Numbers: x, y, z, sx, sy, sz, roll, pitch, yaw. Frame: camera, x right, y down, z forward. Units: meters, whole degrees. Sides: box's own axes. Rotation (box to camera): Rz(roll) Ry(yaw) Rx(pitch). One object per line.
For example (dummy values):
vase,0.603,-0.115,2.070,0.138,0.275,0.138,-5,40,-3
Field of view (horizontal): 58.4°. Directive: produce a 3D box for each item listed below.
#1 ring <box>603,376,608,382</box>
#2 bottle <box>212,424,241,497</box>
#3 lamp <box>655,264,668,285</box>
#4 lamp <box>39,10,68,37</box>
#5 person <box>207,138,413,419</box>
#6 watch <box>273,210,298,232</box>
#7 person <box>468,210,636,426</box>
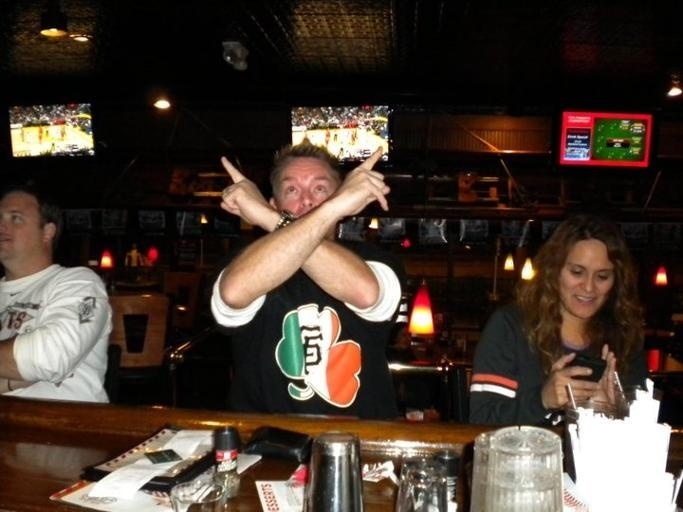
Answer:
ring,1.170,0.540,2.711,0.008,0.031,0.010,31,-31,-1
bottle,-0.418,0.746,2.240,0.093,0.270,0.204,2,-3,-9
lamp,4.401,0.258,8.344,0.252,0.284,0.146,3,-4,-25
lamp,-2.219,-1.753,4.695,0.194,0.196,0.191,2,3,-33
person,-0.153,0.084,2.929,0.880,1.338,0.555,1,-3,4
watch,-0.269,-0.160,2.835,0.117,0.068,0.043,-35,-7,18
person,1.182,0.315,3.303,0.887,1.109,0.601,5,-4,-41
